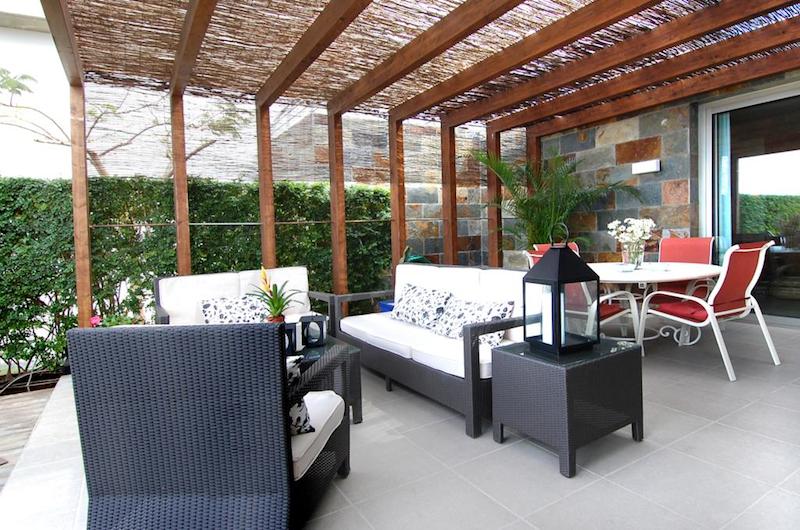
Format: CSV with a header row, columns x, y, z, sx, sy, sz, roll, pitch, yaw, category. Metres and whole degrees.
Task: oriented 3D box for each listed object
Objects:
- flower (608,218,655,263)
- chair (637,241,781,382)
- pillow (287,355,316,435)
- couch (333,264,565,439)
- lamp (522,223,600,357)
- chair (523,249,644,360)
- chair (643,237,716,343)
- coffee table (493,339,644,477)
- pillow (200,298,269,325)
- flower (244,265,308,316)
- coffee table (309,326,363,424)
x,y,z,sx,sy,sz,roll,pitch,yaw,category
2.607,-0.233,5.654,0.482,0.527,0.505,-6,9,-10,flower
3.119,0.396,5.108,0.996,1.160,1.127,-7,5,-42,chair
-0.618,0.832,3.152,0.190,0.513,0.490,-2,-2,-7,pillow
0.105,0.645,4.876,1.958,0.921,0.811,4,16,45,couch
1.186,0.248,3.748,0.538,0.795,0.257,-3,6,17,lamp
1.427,0.272,3.986,0.851,0.743,0.496,-3,4,-25,chair
3.435,0.283,5.957,0.787,0.980,1.304,9,-14,33,chair
1.233,0.928,4.003,0.973,0.816,0.984,-5,7,-39,coffee table
-1.622,0.441,4.951,0.594,0.227,0.291,-6,5,-14,pillow
-1.187,0.257,5.259,0.588,0.699,0.565,0,-2,-26,flower
-0.634,0.946,4.077,0.411,0.500,0.528,12,-20,-26,coffee table
